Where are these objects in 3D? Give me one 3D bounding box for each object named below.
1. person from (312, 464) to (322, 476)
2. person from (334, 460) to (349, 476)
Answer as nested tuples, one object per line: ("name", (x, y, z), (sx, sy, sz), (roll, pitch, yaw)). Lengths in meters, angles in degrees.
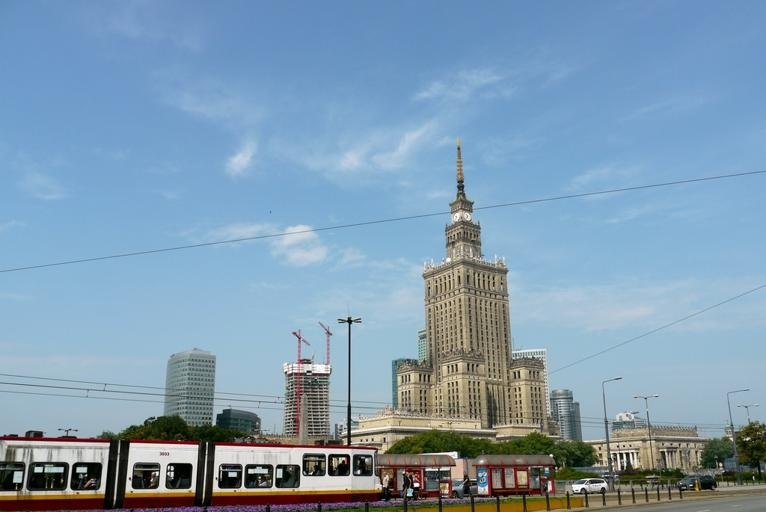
("person", (-4.971, 16.226, 57.218), (0.949, 0.772, 0.228), (10, -21, -28))
("person", (-3.249, 16.327, 58.016), (1.347, 1.080, 0.647), (4, -6, -22))
